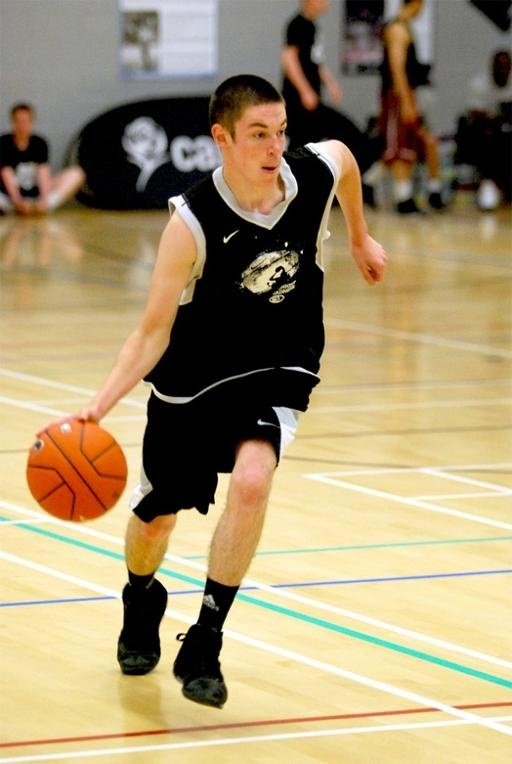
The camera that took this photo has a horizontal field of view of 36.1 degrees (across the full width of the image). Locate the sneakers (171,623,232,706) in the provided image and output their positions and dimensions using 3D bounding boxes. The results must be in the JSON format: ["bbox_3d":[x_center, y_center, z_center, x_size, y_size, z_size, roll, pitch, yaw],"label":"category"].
[{"bbox_3d":[-0.103,0.511,1.427,0.084,0.128,0.114,0,2,-11],"label":"sneakers"}]

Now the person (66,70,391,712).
[{"bbox_3d":[-0.064,0.004,1.545,0.376,1.154,0.461,1,2,17],"label":"person"}]

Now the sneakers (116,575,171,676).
[{"bbox_3d":[-0.245,0.529,1.700,0.084,0.095,0.228,-3,16,-6],"label":"sneakers"}]
